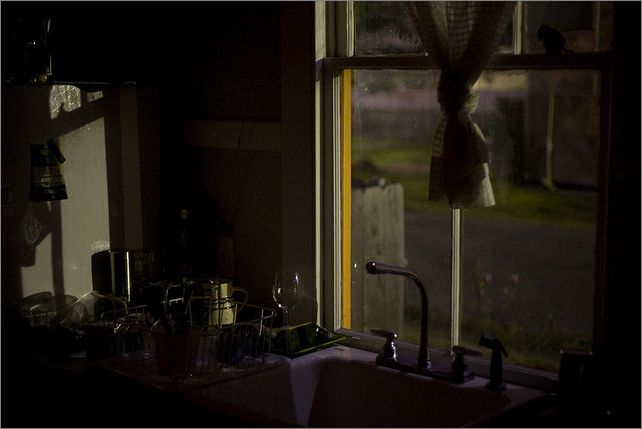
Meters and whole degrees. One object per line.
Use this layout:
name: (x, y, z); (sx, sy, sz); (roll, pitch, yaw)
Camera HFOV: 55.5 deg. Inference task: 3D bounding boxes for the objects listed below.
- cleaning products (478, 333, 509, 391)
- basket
cleaning products: (0.594, 0.503, 2.110); (0.086, 0.178, 0.131); (1, 0, 16)
basket: (-0.470, 0.364, 2.177); (0.337, 0.123, 0.375); (7, 11, 32)
